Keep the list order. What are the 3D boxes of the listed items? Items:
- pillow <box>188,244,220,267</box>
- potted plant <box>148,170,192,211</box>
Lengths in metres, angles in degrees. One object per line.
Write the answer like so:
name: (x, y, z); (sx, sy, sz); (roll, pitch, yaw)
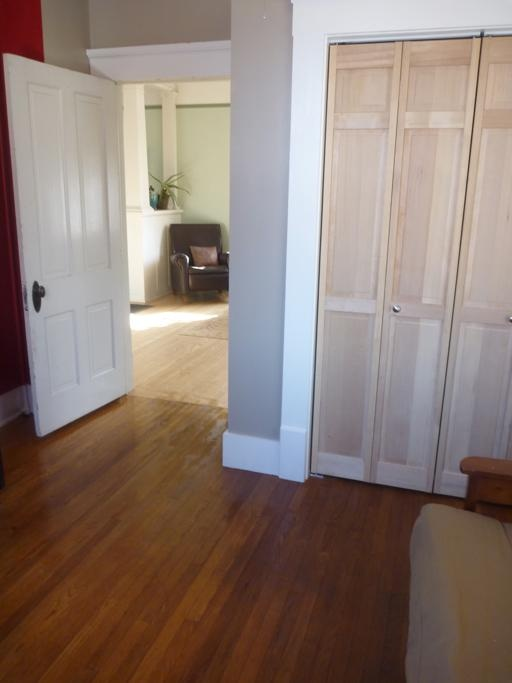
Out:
pillow: (-0.761, -1.274, 7.403); (0.448, 0.291, 0.338); (-2, 11, -15)
potted plant: (-1.403, -2.385, 7.816); (0.577, 0.755, 0.658); (8, 16, 18)
